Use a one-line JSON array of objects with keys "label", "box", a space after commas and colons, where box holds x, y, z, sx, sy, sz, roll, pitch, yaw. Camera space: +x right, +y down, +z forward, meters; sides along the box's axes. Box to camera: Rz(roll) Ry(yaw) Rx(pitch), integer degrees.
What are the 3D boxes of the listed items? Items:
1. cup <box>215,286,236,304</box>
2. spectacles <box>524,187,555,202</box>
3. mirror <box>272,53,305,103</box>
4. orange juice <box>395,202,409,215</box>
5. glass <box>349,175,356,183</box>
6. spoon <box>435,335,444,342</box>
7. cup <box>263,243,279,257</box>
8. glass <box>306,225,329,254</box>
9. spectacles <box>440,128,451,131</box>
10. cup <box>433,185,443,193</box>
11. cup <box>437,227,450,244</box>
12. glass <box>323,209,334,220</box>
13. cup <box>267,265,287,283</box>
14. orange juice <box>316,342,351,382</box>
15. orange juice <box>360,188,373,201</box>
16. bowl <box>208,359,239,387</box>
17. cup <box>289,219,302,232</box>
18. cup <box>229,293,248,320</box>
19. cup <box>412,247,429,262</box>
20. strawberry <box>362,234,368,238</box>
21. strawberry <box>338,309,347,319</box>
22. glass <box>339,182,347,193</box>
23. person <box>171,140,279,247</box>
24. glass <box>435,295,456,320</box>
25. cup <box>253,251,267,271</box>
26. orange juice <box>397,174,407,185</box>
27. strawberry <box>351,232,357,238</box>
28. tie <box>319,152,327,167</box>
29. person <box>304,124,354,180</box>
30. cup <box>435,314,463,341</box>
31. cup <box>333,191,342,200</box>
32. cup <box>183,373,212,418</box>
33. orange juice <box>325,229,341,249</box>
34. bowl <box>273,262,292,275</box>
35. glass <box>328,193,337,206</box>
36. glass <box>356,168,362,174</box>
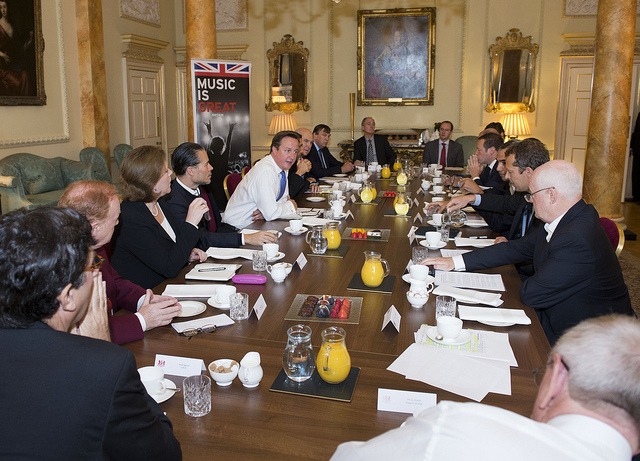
[{"label": "cup", "box": [-0.460, 0.305, 2.153, 0.067, 0.060, 0.094, 9, 22, 22]}, {"label": "spectacles", "box": [1.248, -0.202, 2.518, 0.106, 0.033, 0.107, -6, 8, 38]}, {"label": "mirror", "box": [-0.645, -3.189, 9.195, 0.902, 1.335, 0.101, 0, 9, 8]}, {"label": "orange juice", "box": [0.722, -0.192, 3.957, 0.098, 0.103, 0.102, 2, 9, 24]}, {"label": "glass", "box": [0.401, -0.656, 5.715, 0.111, 0.123, 0.088, 4, 6, 33]}, {"label": "spoon", "box": [0.493, 0.447, 1.842, 0.026, 0.014, 0.039, 1, 4, 16]}, {"label": "cup", "box": [-0.306, 0.130, 2.791, 0.070, 0.063, 0.077, -1, -1, -11]}, {"label": "glass", "box": [-0.014, 0.059, 2.939, 0.164, 0.181, 0.126, -1, 5, 31]}, {"label": "spectacles", "box": [2.044, -1.664, 7.353, 0.153, 0.046, 0.088, 6, 9, 29]}, {"label": "cup", "box": [1.286, -0.448, 4.875, 0.077, 0.076, 0.097, -1, 1, -24]}, {"label": "cup", "box": [0.895, 0.043, 3.283, 0.093, 0.113, 0.101, -1, 2, 0]}, {"label": "glass", "box": [0.073, -0.135, 3.791, 0.082, 0.086, 0.074, 1, 8, 0]}, {"label": "cup", "box": [-0.236, 0.233, 2.414, 0.097, 0.097, 0.079, 2, 10, 3]}, {"label": "orange juice", "box": [0.044, 0.470, 1.593, 0.116, 0.157, 0.161, 1, 2, 16]}, {"label": "orange juice", "box": [0.470, -0.359, 4.516, 0.107, 0.163, 0.112, -1, 13, 3]}, {"label": "bowl", "box": [-0.351, 0.517, 1.609, 0.089, 0.058, 0.088, 0, 10, 0]}, {"label": "cup", "box": [-0.191, -0.030, 3.332, 0.072, 0.066, 0.079, 0, 4, 0]}, {"label": "cup", "box": [-0.373, 0.354, 2.088, 0.093, 0.116, 0.096, -1, 2, 0]}, {"label": "cup", "box": [0.591, 0.140, 2.685, 0.095, 0.093, 0.078, 3, 7, 39]}, {"label": "strawberry", "box": [0.326, 0.043, 3.275, 0.026, 0.029, 0.064, -2, -1, 1]}, {"label": "strawberry", "box": [0.101, 0.383, 2.038, 0.035, 0.054, 0.036, 0, 0, 5]}, {"label": "glass", "box": [0.269, -0.515, 5.283, 0.090, 0.109, 0.261, 1, 8, 2]}, {"label": "person", "box": [-0.761, -0.264, 3.571, 0.890, 0.731, 0.576, -3, -4, -4]}, {"label": "glass", "box": [0.566, 0.340, 2.033, 0.098, 0.121, 0.107, 0, 5, 7]}, {"label": "cup", "box": [-0.353, 0.180, 2.641, 0.094, 0.111, 0.093, 0, 14, 0]}, {"label": "orange juice", "box": [1.007, -0.632, 5.511, 0.101, 0.152, 0.104, 5, 8, 37]}, {"label": "strawberry", "box": [0.249, 0.033, 3.297, 0.042, 0.036, 0.048, 2, 8, 5]}, {"label": "tie", "box": [0.034, -1.108, 6.964, 0.039, 0.331, 0.041, -19, -8, -25]}, {"label": "person", "box": [0.016, -1.155, 6.816, 0.909, 0.875, 0.763, 2, 19, 18]}, {"label": "cup", "box": [0.544, 0.405, 1.876, 0.089, 0.081, 0.103, 0, 5, 6]}, {"label": "cup", "box": [0.174, -0.356, 4.466, 0.086, 0.086, 0.090, 1, 17, 0]}, {"label": "cup", "box": [-0.404, 0.542, 1.453, 0.106, 0.132, 0.111, 0, 6, 0]}, {"label": "orange juice", "box": [0.081, 0.051, 2.939, 0.103, 0.113, 0.112, 0, -1, -1]}, {"label": "bowl", "box": [-0.207, 0.212, 2.508, 0.062, 0.050, 0.070, 0, 1, 3]}, {"label": "glass", "box": [0.114, -0.321, 4.497, 0.098, 0.106, 0.090, 2, 8, 12]}, {"label": "glass", "box": [0.524, -0.807, 6.064, 0.101, 0.107, 0.077, 0, 2, 10]}]
